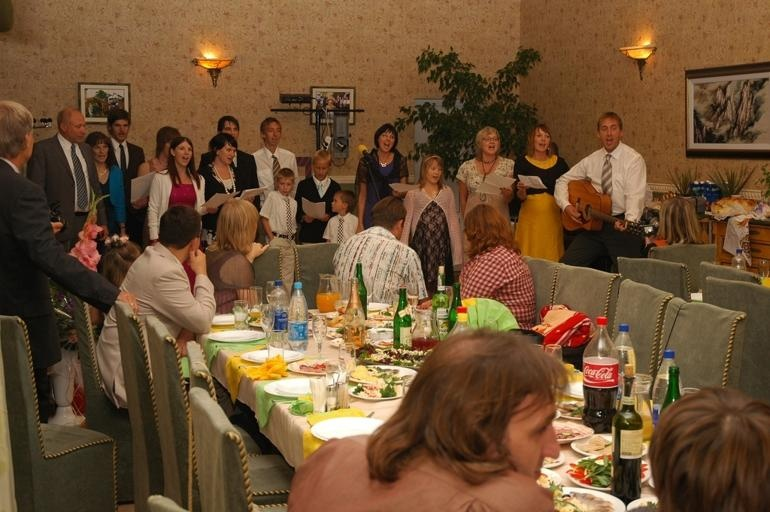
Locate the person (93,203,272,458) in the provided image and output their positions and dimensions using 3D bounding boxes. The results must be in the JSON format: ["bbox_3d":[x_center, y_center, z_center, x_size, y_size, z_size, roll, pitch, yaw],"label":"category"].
[{"bbox_3d":[-1.330,0.459,4.102,0.545,1.348,0.916,18,17,41],"label":"person"}]

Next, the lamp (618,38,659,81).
[{"bbox_3d":[3.195,-2.436,8.085,0.446,0.499,0.447,-17,23,-26],"label":"lamp"}]

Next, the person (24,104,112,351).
[{"bbox_3d":[-3.058,-0.336,6.326,0.555,2.132,0.676,16,18,26],"label":"person"}]

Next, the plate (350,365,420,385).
[{"bbox_3d":[-0.005,0.528,2.964,0.225,0.037,0.235,3,3,37],"label":"plate"}]

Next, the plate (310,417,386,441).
[{"bbox_3d":[-0.152,0.626,2.415,0.231,0.028,0.238,-1,6,11],"label":"plate"}]

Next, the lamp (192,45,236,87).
[{"bbox_3d":[-2.360,-2.534,9.055,0.511,0.406,0.593,-4,2,2],"label":"lamp"}]

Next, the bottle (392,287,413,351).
[{"bbox_3d":[0.099,0.333,3.439,0.109,0.384,0.108,0,26,0],"label":"bottle"}]

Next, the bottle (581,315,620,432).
[{"bbox_3d":[0.859,0.455,2.575,0.141,0.418,0.311,3,3,19],"label":"bottle"}]

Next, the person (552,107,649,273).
[{"bbox_3d":[2.168,-0.403,6.663,0.897,2.009,0.702,8,14,34],"label":"person"}]

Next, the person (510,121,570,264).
[{"bbox_3d":[1.735,-0.467,7.279,0.675,1.865,0.653,-10,25,-8],"label":"person"}]

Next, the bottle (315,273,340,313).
[{"bbox_3d":[-0.352,0.237,4.083,0.154,0.247,0.152,3,-3,0],"label":"bottle"}]

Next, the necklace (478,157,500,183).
[{"bbox_3d":[1.154,-0.900,7.065,0.309,0.332,0.102,-3,0,-1],"label":"necklace"}]

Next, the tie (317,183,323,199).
[{"bbox_3d":[-0.699,-0.718,7.185,0.090,0.149,0.030,1,-4,-13],"label":"tie"}]
